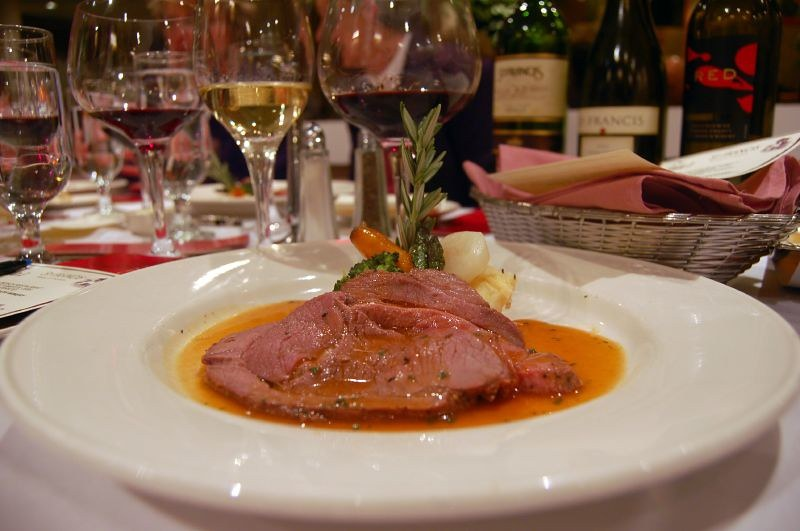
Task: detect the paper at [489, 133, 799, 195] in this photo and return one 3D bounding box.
[{"bbox_3d":[0.674,-0.266,1.666,0.372,0.082,0.330,-9,7,-3],"label":"paper"}]
